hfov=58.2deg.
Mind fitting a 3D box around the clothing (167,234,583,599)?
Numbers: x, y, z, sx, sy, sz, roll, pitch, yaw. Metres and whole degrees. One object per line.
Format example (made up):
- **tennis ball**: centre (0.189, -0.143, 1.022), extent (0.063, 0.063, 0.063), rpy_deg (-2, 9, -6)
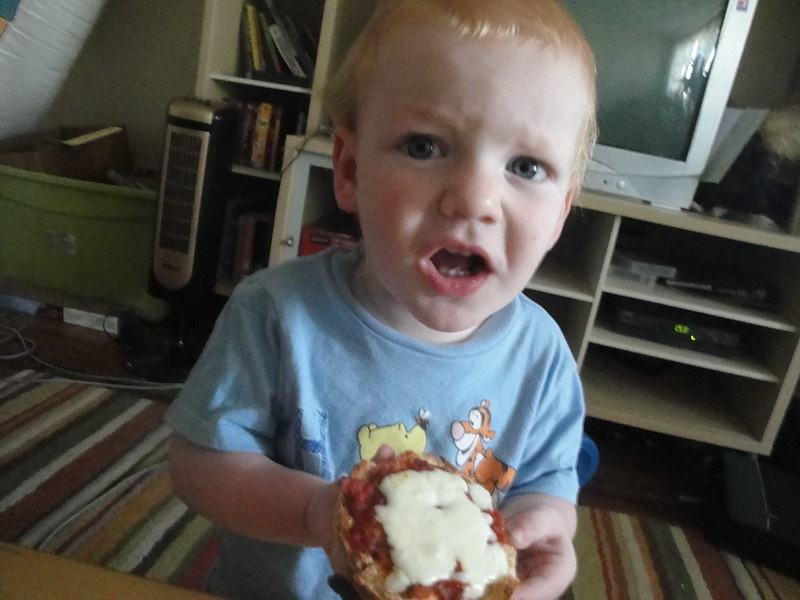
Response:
- **clothing**: centre (-0.029, 0.210, 1.176), extent (0.571, 0.598, 0.305), rpy_deg (25, -2, -6)
